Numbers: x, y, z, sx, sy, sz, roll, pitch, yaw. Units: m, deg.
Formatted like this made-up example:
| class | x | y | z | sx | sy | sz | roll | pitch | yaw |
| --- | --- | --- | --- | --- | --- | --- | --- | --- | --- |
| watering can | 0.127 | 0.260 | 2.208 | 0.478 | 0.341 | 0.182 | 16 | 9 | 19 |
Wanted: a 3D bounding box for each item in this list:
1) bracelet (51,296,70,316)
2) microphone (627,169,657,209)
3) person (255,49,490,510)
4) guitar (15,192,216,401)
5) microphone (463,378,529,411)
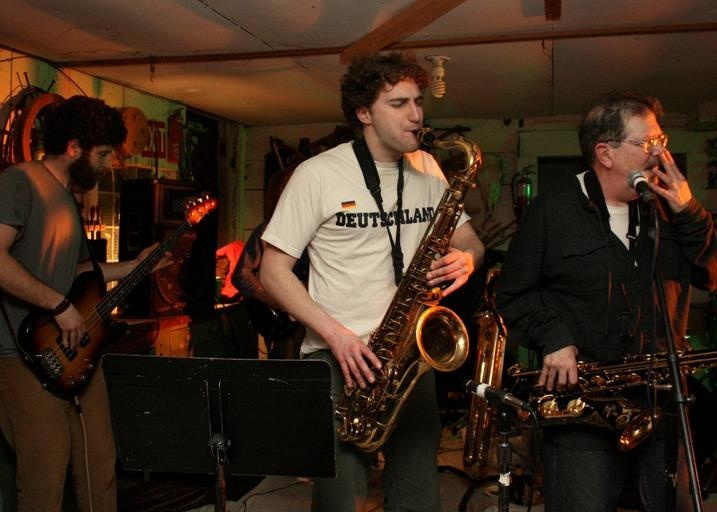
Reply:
| class | x | y | z | sx | sy | sz | roll | pitch | yaw |
| --- | --- | --- | --- | --- | --- | --- | --- | --- | --- |
| bracelet | -1.903 | 0.324 | 4.491 | 0.110 | 0.047 | 0.100 | -43 | 9 | 39 |
| microphone | 1.479 | -0.353 | 3.664 | 0.115 | 0.194 | 0.213 | -2 | -3 | 21 |
| person | 0.065 | 0.133 | 3.917 | 1.215 | 2.578 | 0.483 | 0 | -2 | -10 |
| guitar | -1.785 | 0.257 | 5.073 | 0.231 | 0.525 | 1.613 | -15 | 28 | 29 |
| microphone | 0.713 | 0.765 | 3.707 | 0.400 | 0.169 | 0.318 | 5 | 5 | 1 |
